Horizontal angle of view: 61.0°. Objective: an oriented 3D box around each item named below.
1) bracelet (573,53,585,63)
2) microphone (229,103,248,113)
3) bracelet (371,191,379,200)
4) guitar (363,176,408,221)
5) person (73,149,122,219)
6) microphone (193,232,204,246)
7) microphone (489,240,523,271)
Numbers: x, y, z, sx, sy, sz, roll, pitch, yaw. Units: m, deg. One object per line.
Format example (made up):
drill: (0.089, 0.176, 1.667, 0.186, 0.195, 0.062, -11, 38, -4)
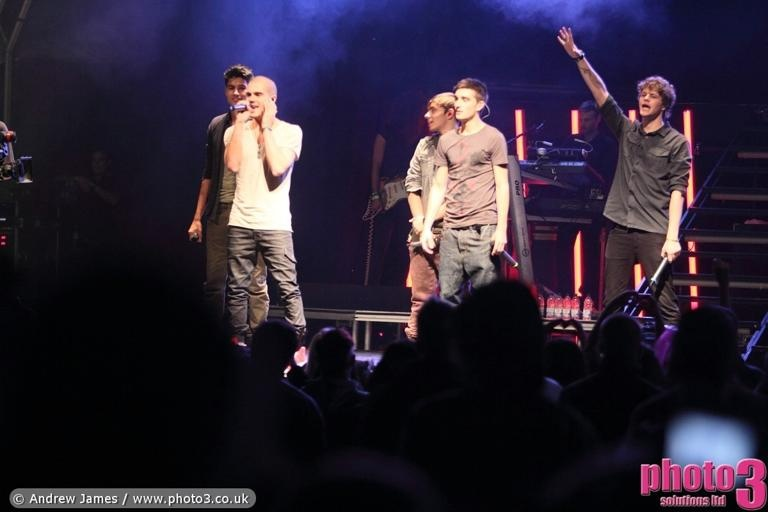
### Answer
bracelet: (1.675, -1.707, 5.600, 0.070, 0.028, 0.077, -2, -15, -13)
microphone: (-1.264, -1.277, 5.674, 0.061, 0.070, 0.261, 5, 5, -29)
bracelet: (-0.110, -0.774, 8.480, 0.092, 0.085, 0.022, 4, 5, 22)
guitar: (0.049, -0.772, 8.443, 0.249, 0.354, 0.817, 46, -39, -11)
person: (-3.203, -0.794, 7.331, 0.710, 0.694, 0.229, 14, 11, 23)
microphone: (-1.852, -0.157, 6.454, 0.100, 0.115, 0.126, -6, -28, 11)
microphone: (1.093, 0.008, 5.851, 0.109, 0.081, 0.447, -31, -50, 32)
